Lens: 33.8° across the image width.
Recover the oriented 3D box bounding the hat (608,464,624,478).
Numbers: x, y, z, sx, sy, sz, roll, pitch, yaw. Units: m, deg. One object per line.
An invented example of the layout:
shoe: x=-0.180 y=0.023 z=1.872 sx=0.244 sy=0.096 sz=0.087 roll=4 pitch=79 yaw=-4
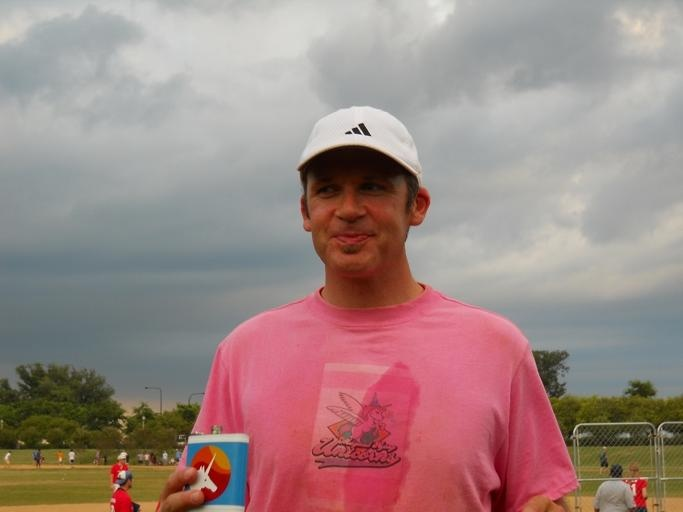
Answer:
hat: x=5.155 y=4.047 z=21.212 sx=0.210 sy=0.266 sz=0.278 roll=0 pitch=-15 yaw=12
